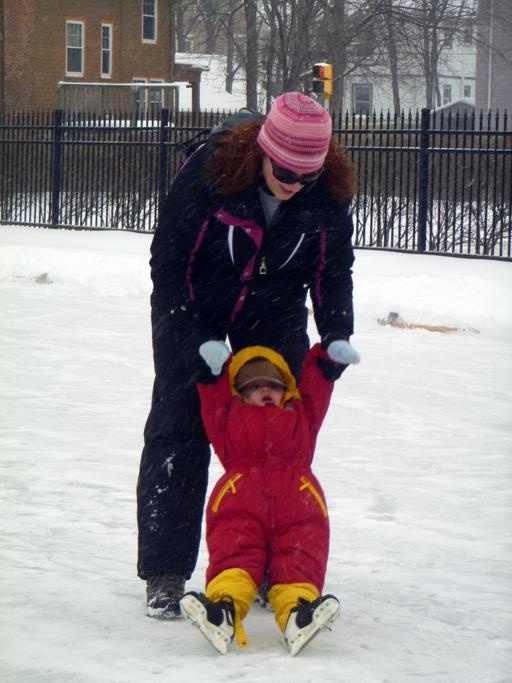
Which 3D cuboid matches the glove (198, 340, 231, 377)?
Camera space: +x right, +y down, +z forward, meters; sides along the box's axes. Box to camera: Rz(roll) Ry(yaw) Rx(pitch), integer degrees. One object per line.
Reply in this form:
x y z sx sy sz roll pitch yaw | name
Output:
-0.122 0.047 2.928 0.101 0.100 0.031 -30 2 -16 | glove

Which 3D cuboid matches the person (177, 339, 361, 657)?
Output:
0.020 0.485 2.994 0.468 0.888 0.763 5 10 0 | person

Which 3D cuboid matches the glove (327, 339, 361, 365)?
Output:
0.298 0.033 3.140 0.100 0.067 0.047 17 32 29 | glove

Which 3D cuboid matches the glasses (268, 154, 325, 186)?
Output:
0.109 -0.481 2.797 0.103 0.030 0.094 -1 35 -37 | glasses

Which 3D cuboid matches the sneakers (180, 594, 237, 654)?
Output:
-0.129 0.788 2.725 0.126 0.175 0.063 -46 5 -40 | sneakers

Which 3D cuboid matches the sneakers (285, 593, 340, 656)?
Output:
0.154 0.796 2.747 0.107 0.209 0.075 52 13 28 | sneakers
